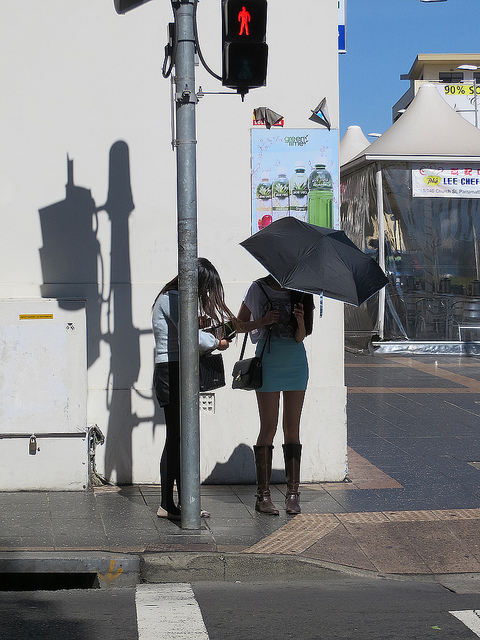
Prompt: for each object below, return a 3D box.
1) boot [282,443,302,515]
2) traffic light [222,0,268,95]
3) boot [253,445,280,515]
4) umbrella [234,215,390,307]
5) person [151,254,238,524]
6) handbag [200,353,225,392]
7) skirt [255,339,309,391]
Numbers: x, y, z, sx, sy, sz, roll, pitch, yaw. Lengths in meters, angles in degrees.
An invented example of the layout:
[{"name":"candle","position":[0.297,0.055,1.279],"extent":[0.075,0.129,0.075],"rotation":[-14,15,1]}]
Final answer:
[{"name":"boot","position":[0.362,1.105,7.574],"extent":[0.120,0.458,0.335],"rotation":[0,4,3]},{"name":"traffic light","position":[0.030,-1.765,6.966],"extent":[0.275,0.528,0.142],"rotation":[0,3,-1]},{"name":"boot","position":[0.182,1.109,7.589],"extent":[0.168,0.462,0.358],"rotation":[0,4,-3]},{"name":"umbrella","position":[0.504,-0.396,7.305],"extent":[0.844,0.569,0.754],"rotation":[-3,6,-37]},{"name":"person","position":[-0.363,0.479,7.344],"extent":[0.575,1.783,0.800],"rotation":[2,4,26]},{"name":"handbag","position":[-0.193,0.357,7.232],"extent":[0.094,0.267,0.237],"rotation":[-12,-7,36]},{"name":"skirt","position":[0.270,0.310,7.581],"extent":[0.342,0.642,0.299],"rotation":[0,-3,-11]}]
